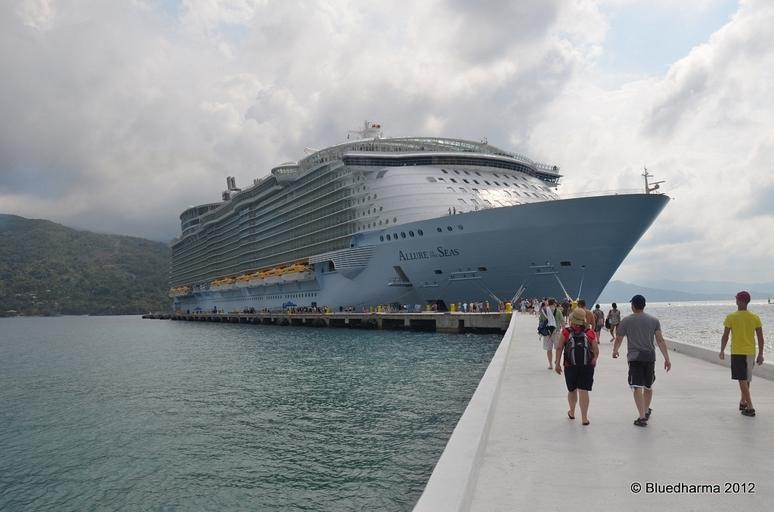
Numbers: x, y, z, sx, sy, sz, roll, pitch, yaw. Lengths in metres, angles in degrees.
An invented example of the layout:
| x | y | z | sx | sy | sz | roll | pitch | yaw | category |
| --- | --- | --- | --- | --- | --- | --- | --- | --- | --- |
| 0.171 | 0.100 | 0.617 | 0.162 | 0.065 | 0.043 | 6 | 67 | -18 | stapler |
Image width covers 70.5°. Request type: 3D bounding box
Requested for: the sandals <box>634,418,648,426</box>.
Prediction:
| x | y | z | sx | sy | sz | roll | pitch | yaw | category |
| --- | --- | --- | --- | --- | --- | --- | --- | --- | --- |
| 4.665 | 3.035 | 9.990 | 0.121 | 0.101 | 0.260 | 0 | -12 | -13 | sandals |

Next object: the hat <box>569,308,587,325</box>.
| x | y | z | sx | sy | sz | roll | pitch | yaw | category |
| --- | --- | --- | --- | --- | --- | --- | --- | --- | --- |
| 3.520 | 1.108 | 10.181 | 0.293 | 0.163 | 0.308 | -22 | 32 | -7 | hat |

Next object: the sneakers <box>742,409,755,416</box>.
| x | y | z | sx | sy | sz | roll | pitch | yaw | category |
| --- | --- | --- | --- | --- | --- | --- | --- | --- | --- |
| 6.837 | 2.944 | 10.331 | 0.095 | 0.085 | 0.225 | 0 | 1 | 2 | sneakers |
